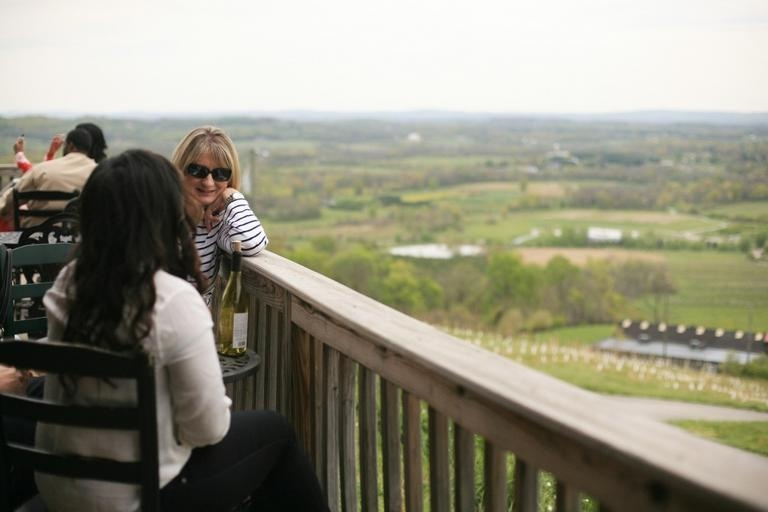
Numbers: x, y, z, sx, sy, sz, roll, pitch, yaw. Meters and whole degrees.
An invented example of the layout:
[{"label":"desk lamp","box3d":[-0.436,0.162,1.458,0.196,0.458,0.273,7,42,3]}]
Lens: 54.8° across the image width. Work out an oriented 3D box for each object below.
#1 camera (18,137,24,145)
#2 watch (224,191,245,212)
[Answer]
[{"label":"camera","box3d":[-2.742,-0.867,5.592,0.032,0.034,0.066,23,42,-17]},{"label":"watch","box3d":[-0.570,-0.208,2.846,0.057,0.033,0.076,6,-12,-25]}]
